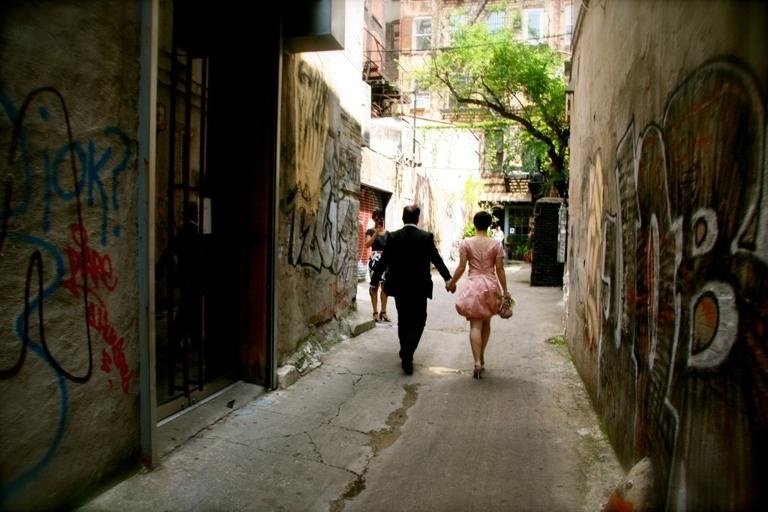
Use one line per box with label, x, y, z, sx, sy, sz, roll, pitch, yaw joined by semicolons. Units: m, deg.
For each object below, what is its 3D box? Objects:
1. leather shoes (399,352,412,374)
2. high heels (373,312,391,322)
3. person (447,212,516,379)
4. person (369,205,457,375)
leather shoes;0.252;1.214;7.326;0.140;0.232;0.285;1;7;-9
high heels;-0.054;0.992;10.329;0.319;0.147;0.119;0;2;-10
person;1.090;0.418;7.312;0.728;1.869;0.635;3;7;8
person;0.309;0.346;7.621;0.756;1.886;0.779;-5;9;-42
